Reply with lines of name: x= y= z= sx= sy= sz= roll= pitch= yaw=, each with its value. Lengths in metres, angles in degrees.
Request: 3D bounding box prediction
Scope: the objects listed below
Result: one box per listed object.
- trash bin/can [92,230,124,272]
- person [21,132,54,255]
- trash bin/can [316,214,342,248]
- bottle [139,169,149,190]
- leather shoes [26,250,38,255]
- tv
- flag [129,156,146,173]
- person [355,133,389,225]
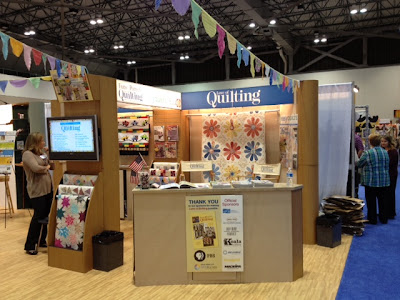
trash bin/can: x=-1.569 y=1.697 z=5.961 sx=0.327 sy=0.604 sz=0.445 roll=2 pitch=3 yaw=26
person: x=-3.091 y=0.802 z=6.606 sx=0.549 sy=2.216 sz=0.466 roll=-5 pitch=8 yaw=-29
trash bin/can: x=2.511 y=1.573 z=6.766 sx=0.454 sy=0.540 sz=0.495 roll=-3 pitch=6 yaw=18
bottle: x=-0.858 y=0.450 z=5.396 sx=0.158 sy=0.274 sz=0.186 roll=-2 pitch=7 yaw=-11
leather shoes: x=-3.144 y=1.894 z=6.514 sx=0.147 sy=0.063 sz=0.090 roll=0 pitch=-3 yaw=10
tv: x=-2.220 y=-0.202 z=6.078 sx=1.052 sy=0.768 sz=0.088 roll=1 pitch=7 yaw=18
flag: x=-1.291 y=0.306 z=7.219 sx=0.313 sy=0.284 sz=0.025 roll=32 pitch=-15 yaw=-26
person: x=3.884 y=0.795 z=7.773 sx=0.654 sy=1.733 sz=0.359 roll=1 pitch=7 yaw=15
